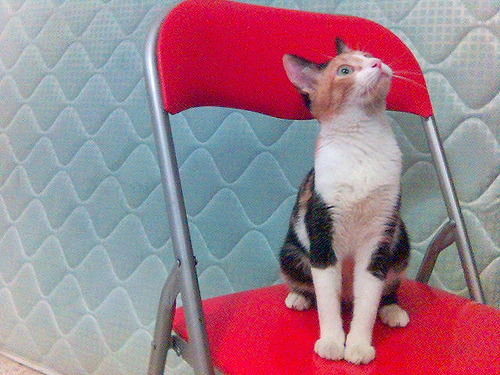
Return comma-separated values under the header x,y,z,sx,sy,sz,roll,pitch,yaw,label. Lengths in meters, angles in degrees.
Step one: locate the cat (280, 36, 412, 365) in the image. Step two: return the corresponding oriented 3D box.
x,y,z,sx,sy,sz,roll,pitch,yaw,label
0.241,0.004,1.468,0.320,0.692,0.396,0,13,-5,cat
